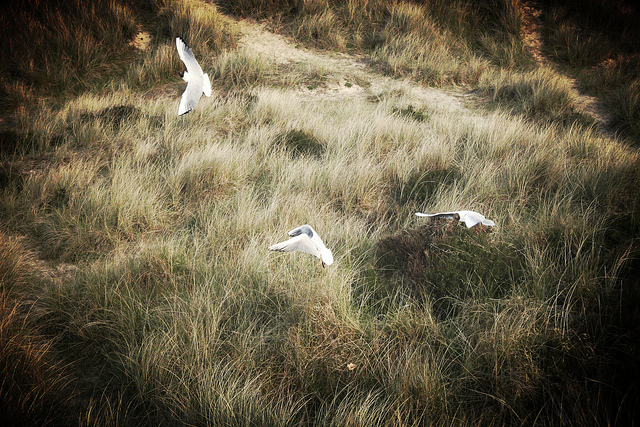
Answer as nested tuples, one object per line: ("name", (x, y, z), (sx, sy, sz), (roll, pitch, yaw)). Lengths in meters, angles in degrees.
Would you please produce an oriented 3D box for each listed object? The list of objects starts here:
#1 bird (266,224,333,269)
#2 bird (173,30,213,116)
("bird", (-0.141, 0.313, 8.475), (0.448, 0.433, 0.255), (-4, 90, 22))
("bird", (-1.469, -1.517, 9.421), (0.396, 0.711, 0.804), (5, 78, -1))
